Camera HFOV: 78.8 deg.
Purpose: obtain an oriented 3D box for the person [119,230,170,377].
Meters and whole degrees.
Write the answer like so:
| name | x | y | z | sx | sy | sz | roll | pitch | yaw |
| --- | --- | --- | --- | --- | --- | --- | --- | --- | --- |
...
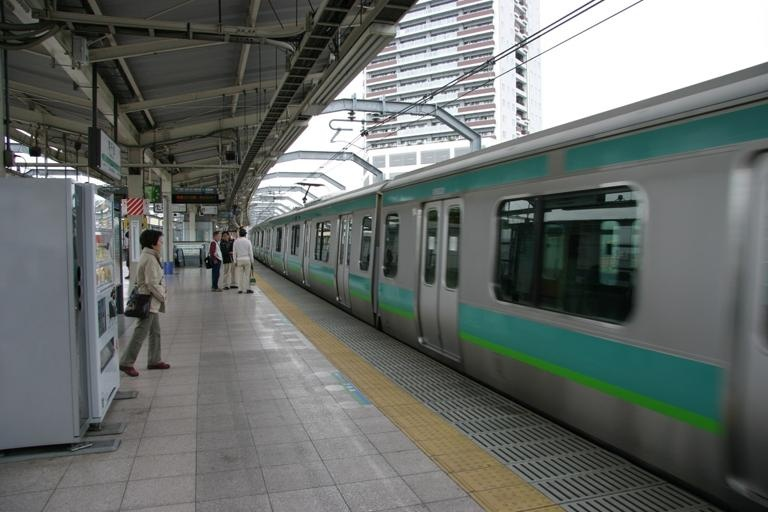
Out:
| name | x | y | z | sx | sy | sz | roll | pitch | yaw |
| --- | --- | --- | --- | --- | --- | --- | --- | --- | --- |
| person | -3.491 | 0.671 | 6.789 | 0.629 | 2.123 | 0.714 | -2 | 5 | -24 |

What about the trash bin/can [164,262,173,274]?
| name | x | y | z | sx | sy | sz | roll | pitch | yaw |
| --- | --- | --- | --- | --- | --- | --- | --- | --- | --- |
| trash bin/can | -10.472 | 0.571 | 22.847 | 0.556 | 0.576 | 0.531 | 0 | 0 | -8 |

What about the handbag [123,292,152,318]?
| name | x | y | z | sx | sy | sz | roll | pitch | yaw |
| --- | --- | --- | --- | --- | --- | --- | --- | --- | --- |
| handbag | -3.468 | 0.685 | 6.576 | 0.353 | 0.369 | 0.308 | -1 | 5 | -12 |

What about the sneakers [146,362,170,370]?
| name | x | y | z | sx | sy | sz | roll | pitch | yaw |
| --- | --- | --- | --- | --- | --- | --- | --- | --- | --- |
| sneakers | -3.412 | 1.663 | 7.132 | 0.353 | 0.137 | 0.123 | 0 | 0 | -14 |
